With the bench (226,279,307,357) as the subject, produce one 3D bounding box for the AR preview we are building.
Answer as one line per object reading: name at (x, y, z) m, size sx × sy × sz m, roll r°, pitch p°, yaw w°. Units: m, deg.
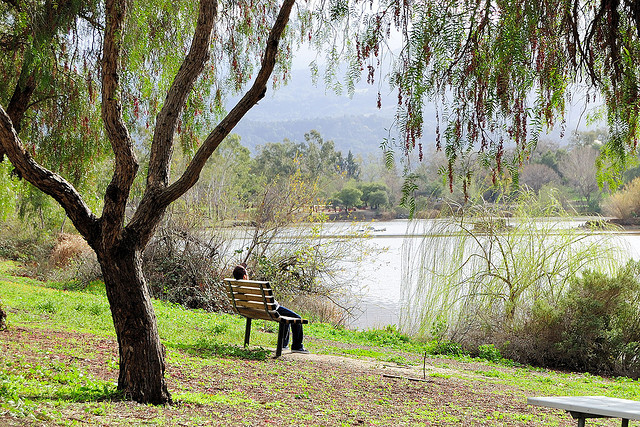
bench at (-1.170, 2.055, 16.408) m, size 0.769 × 1.475 × 1.834 m, roll -1°, pitch -2°, yaw -36°
